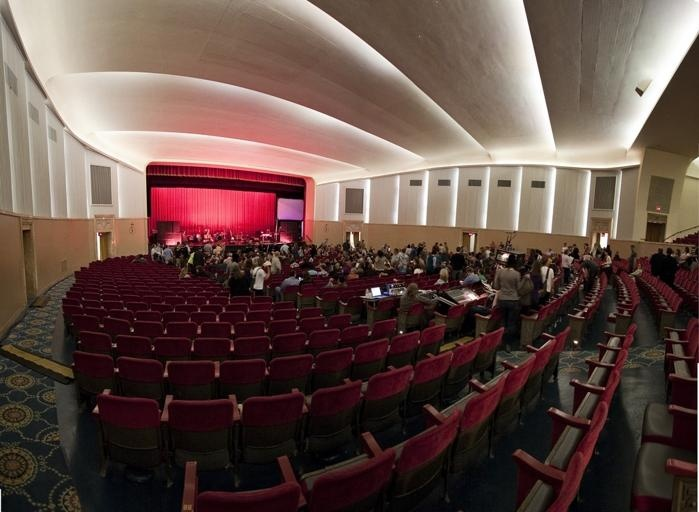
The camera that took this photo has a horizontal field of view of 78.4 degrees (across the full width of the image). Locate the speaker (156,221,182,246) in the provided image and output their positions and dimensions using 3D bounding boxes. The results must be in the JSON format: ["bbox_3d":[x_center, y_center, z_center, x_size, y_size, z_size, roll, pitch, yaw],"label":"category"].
[{"bbox_3d":[-11.017,-1.363,26.095,1.408,1.658,1.513,-4,-1,44],"label":"speaker"}]

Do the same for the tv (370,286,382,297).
[{"bbox_3d":[0.575,0.765,9.069,0.182,0.190,0.046,-3,-4,-4],"label":"tv"}]
